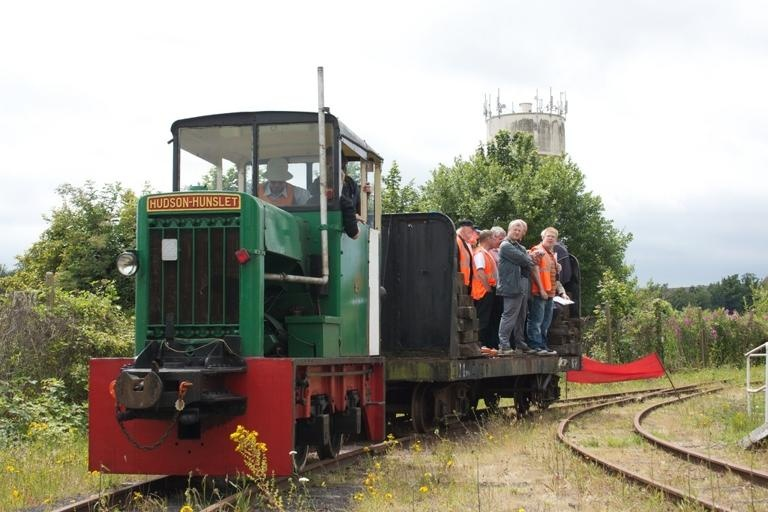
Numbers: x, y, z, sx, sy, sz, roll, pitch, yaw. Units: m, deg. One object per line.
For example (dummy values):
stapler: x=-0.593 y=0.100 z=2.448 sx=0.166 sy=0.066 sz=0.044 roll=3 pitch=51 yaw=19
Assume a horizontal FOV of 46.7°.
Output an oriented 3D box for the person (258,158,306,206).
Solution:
person: x=-1.669 y=-1.187 z=13.895 sx=0.884 sy=0.741 sz=1.363 roll=1 pitch=5 yaw=-2
